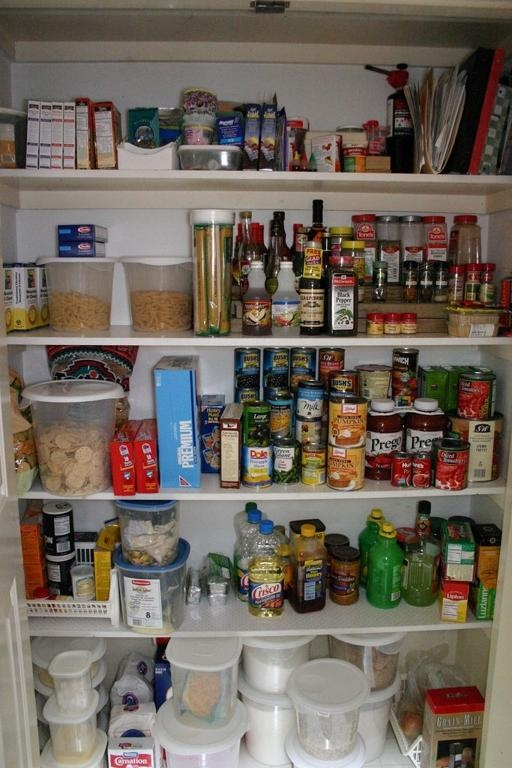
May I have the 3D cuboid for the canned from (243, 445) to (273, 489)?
[{"bbox_3d":[0.003,0.196,1.525,0.090,0.101,0.091,5,14,14],"label":"canned"}]

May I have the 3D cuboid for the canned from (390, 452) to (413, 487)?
[{"bbox_3d":[0.354,0.209,1.515,0.059,0.079,0.044,3,13,27],"label":"canned"}]

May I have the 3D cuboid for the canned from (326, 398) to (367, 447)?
[{"bbox_3d":[0.227,0.082,1.493,0.113,0.121,0.093,-4,12,-5],"label":"canned"}]

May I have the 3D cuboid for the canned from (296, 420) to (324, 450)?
[{"bbox_3d":[0.135,0.120,1.517,0.061,0.069,0.061,0,10,4],"label":"canned"}]

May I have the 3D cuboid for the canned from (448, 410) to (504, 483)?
[{"bbox_3d":[0.545,0.155,1.575,0.151,0.166,0.150,8,15,36],"label":"canned"}]

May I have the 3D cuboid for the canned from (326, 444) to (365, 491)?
[{"bbox_3d":[0.211,0.197,1.522,0.098,0.110,0.099,0,13,-1],"label":"canned"}]

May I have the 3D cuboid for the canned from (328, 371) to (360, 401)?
[{"bbox_3d":[0.214,-0.001,1.506,0.073,0.065,0.059,-4,12,-3],"label":"canned"}]

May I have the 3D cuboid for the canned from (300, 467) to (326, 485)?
[{"bbox_3d":[0.138,0.225,1.497,0.046,0.035,0.047,4,7,14],"label":"canned"}]

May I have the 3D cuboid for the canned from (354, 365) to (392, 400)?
[{"bbox_3d":[0.301,-0.006,1.619,0.088,0.083,0.088,-8,18,-30],"label":"canned"}]

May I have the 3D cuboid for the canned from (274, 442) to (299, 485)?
[{"bbox_3d":[0.071,0.188,1.497,0.065,0.114,0.040,-3,11,2],"label":"canned"}]

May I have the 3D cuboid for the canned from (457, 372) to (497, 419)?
[{"bbox_3d":[0.530,0.028,1.545,0.103,0.116,0.103,12,18,42],"label":"canned"}]

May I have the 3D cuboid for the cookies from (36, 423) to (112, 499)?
[{"bbox_3d":[-0.426,0.173,1.500,0.161,0.159,0.163,11,17,32],"label":"cookies"}]

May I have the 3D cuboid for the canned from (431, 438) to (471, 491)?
[{"bbox_3d":[0.464,0.195,1.526,0.109,0.122,0.110,5,20,13],"label":"canned"}]

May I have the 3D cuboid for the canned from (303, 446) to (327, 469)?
[{"bbox_3d":[0.132,0.170,1.505,0.056,0.062,0.056,-3,10,-16],"label":"canned"}]

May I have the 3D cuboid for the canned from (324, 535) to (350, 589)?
[{"bbox_3d":[0.216,0.481,1.686,0.101,0.110,0.098,3,9,11],"label":"canned"}]
